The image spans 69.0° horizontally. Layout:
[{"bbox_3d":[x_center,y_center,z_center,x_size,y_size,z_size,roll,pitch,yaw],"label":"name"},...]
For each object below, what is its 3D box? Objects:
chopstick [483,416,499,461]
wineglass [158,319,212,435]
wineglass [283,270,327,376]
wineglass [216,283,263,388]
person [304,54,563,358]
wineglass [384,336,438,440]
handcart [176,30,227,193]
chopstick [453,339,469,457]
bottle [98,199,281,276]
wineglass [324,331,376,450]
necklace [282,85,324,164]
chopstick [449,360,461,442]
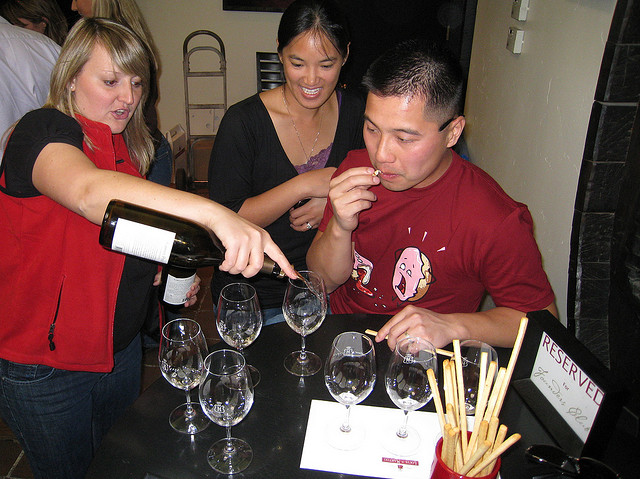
[{"bbox_3d":[0.379,0.460,1.076,0.026,0.125,0.021,3,34,-4],"label":"chopstick"},{"bbox_3d":[-0.391,0.376,1.397,0.129,0.352,0.143,-10,28,-29],"label":"wineglass"},{"bbox_3d":[-0.054,0.261,1.562,0.137,0.252,0.278,1,17,-3],"label":"wineglass"},{"bbox_3d":[-0.256,0.317,1.538,0.125,0.327,0.130,20,24,38],"label":"wineglass"},{"bbox_3d":[0.429,-0.114,1.814,0.520,0.967,0.847,-28,58,-13],"label":"person"},{"bbox_3d":[0.229,0.380,1.288,0.120,0.302,0.142,1,19,-3],"label":"wineglass"},{"bbox_3d":[-1.151,-1.273,4.648,0.436,1.519,0.946,-1,17,-11],"label":"handcart"},{"bbox_3d":[0.338,0.365,1.138,0.019,0.303,0.027,3,-14,-34],"label":"chopstick"},{"bbox_3d":[-0.428,-0.002,1.301,0.339,0.221,0.107,-7,19,-28],"label":"bottle"},{"bbox_3d":[0.075,0.435,1.320,0.131,0.296,0.152,3,20,2],"label":"wineglass"},{"bbox_3d":[-0.082,-0.514,2.131,0.189,0.312,0.099,2,16,-2],"label":"necklace"},{"bbox_3d":[0.326,0.383,1.136,0.018,0.161,0.019,-4,5,10],"label":"chopstick"}]
